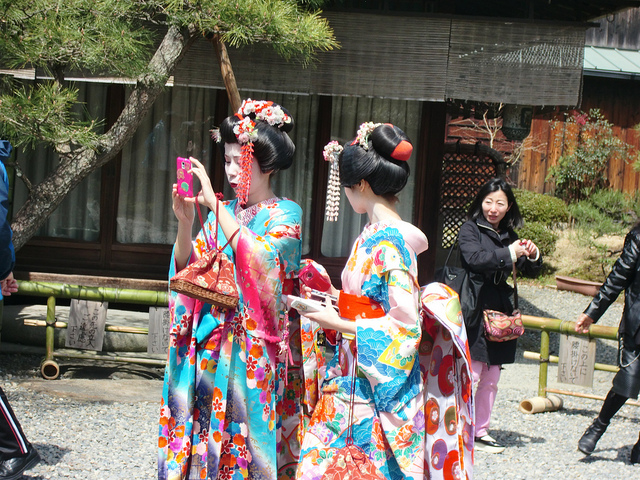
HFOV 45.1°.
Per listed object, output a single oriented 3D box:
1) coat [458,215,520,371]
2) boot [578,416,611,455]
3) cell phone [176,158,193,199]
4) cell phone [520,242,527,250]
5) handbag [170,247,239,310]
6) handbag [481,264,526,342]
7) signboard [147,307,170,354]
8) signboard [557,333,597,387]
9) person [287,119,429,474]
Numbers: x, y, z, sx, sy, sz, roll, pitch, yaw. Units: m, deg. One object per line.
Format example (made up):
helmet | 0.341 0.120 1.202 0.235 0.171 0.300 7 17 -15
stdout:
coat | 1.441 0.383 6.516 0.530 1.298 0.518 18 14 32
boot | 2.336 1.629 6.487 0.156 0.248 0.525 23 20 31
cell phone | -0.862 -0.389 4.897 0.099 0.268 0.148 1 8 -13
cell phone | 1.616 0.043 6.039 0.011 0.057 0.070 -2 10 -34
handbag | -0.674 0.241 4.890 0.419 0.179 0.512 22 27 8
handbag | 1.514 0.418 6.314 0.352 0.924 0.131 -4 23 12
signboard | -1.598 0.905 7.641 0.238 0.482 0.042 11 -21 -37
signboard | 2.498 1.168 7.430 0.333 0.523 0.079 5 16 15
person | 0.331 0.362 4.691 0.805 2.125 0.593 4 7 8
